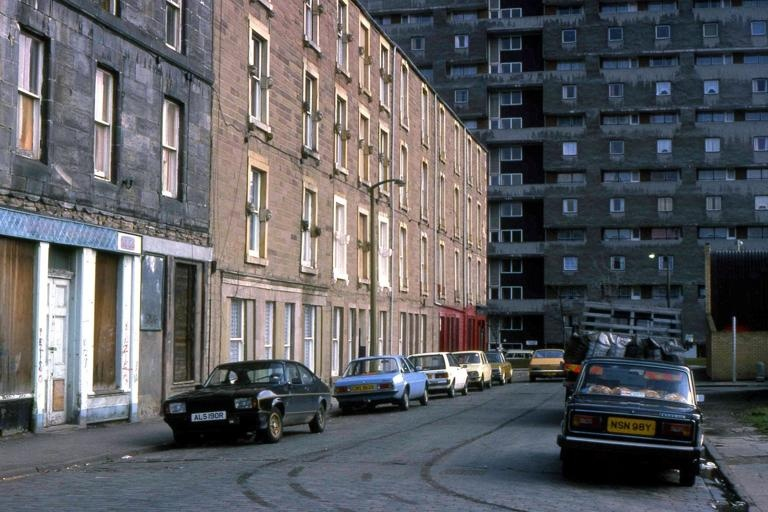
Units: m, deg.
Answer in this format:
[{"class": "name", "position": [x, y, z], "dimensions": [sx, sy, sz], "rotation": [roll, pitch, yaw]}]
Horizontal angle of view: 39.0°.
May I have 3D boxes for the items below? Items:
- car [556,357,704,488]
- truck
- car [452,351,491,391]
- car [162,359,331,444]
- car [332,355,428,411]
[{"class": "car", "position": [5.577, 3.838, 24.478], "dimensions": [3.011, 2.543, 2.033], "rotation": [2, 4, 8]}, {"class": "truck", "position": [7.106, 3.123, 32.086], "dimensions": [2.617, 1.678, 2.628], "rotation": [9, -10, -26]}, {"class": "car", "position": [4.051, 5.112, 48.204], "dimensions": [1.229, 1.030, 2.234], "rotation": [-4, -12, 8]}, {"class": "car", "position": [-3.577, 3.982, 29.000], "dimensions": [2.081, 2.153, 4.524], "rotation": [4, 5, 36]}, {"class": "car", "position": [0.046, 4.386, 36.899], "dimensions": [3.618, 1.853, 1.811], "rotation": [-2, 5, -41]}]
